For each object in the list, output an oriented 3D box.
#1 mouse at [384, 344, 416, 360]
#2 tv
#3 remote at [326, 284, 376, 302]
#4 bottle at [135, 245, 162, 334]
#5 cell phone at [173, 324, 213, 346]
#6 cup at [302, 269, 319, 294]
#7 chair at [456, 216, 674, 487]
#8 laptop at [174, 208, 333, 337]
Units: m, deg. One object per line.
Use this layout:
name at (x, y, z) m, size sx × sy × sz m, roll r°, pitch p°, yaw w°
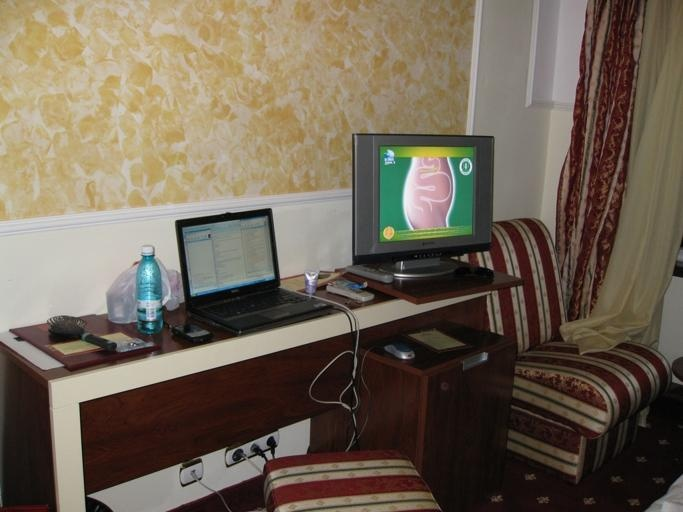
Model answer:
mouse at (0.239, 0.366, 1.932) m, size 0.051 × 0.033 × 0.098 m, roll -5°, pitch 12°, yaw -33°
tv at (0.341, -0.230, 2.140) m, size 0.572 × 0.523 × 0.296 m, roll -6°, pitch 8°, yaw -27°
remote at (0.032, 0.134, 2.023) m, size 0.157 × 0.038 × 0.072 m, roll 12°, pitch 15°, yaw 43°
bottle at (-0.641, 0.113, 1.616) m, size 0.102 × 0.281 × 0.102 m, roll -3°, pitch 19°, yaw 1°
cell phone at (-0.497, 0.253, 1.605) m, size 0.170 × 0.029 × 0.077 m, roll 10°, pitch 23°, yaw 34°
cup at (-0.124, 0.109, 2.091) m, size 0.075 × 0.125 × 0.077 m, roll 1°, pitch 7°, yaw 0°
chair at (1.212, 0.451, 2.677) m, size 0.786 × 1.137 × 0.921 m, roll -11°, pitch 15°, yaw -43°
laptop at (-0.310, 0.039, 1.777) m, size 0.395 × 0.349 × 0.464 m, roll 11°, pitch 15°, yaw 38°
